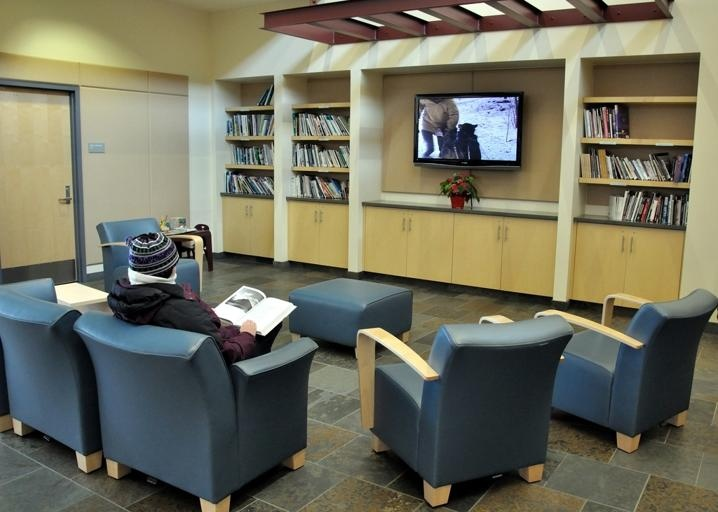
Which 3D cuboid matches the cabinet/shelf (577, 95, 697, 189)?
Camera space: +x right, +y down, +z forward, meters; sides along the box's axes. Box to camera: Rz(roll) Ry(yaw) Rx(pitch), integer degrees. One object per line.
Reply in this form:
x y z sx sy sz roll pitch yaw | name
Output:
3.261 -1.338 6.124 1.085 0.746 0.361 5 11 26 | cabinet/shelf

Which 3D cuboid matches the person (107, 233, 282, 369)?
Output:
-1.289 0.323 4.100 0.735 1.399 0.873 14 28 29 | person

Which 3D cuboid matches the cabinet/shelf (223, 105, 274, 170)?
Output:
-1.837 -1.990 8.778 1.081 0.917 0.358 5 9 33 | cabinet/shelf

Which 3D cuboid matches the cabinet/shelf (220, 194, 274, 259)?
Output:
-1.857 -0.520 8.824 0.981 0.832 0.380 6 8 35 | cabinet/shelf

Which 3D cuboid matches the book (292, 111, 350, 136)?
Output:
-0.569 -2.006 8.078 0.960 0.351 0.211 8 16 26 | book

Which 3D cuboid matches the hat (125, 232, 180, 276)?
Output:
-1.233 -0.037 3.121 0.291 0.239 0.221 14 25 23 | hat

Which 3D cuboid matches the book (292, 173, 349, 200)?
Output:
-0.588 -1.082 8.259 1.018 0.309 0.326 10 17 33 | book

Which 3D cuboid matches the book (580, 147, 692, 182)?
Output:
3.232 -1.062 6.194 1.136 0.338 0.392 8 16 28 | book

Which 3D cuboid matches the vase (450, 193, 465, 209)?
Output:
1.332 -0.746 7.188 0.186 0.142 0.189 -1 5 -1 | vase

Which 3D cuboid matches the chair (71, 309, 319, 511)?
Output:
-0.933 0.743 3.334 1.259 1.142 1.141 5 8 34 | chair

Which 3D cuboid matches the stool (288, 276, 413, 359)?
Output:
0.011 0.509 5.160 0.806 0.454 0.782 7 10 40 | stool

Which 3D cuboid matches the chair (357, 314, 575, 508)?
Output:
0.570 0.738 3.448 1.097 1.154 1.206 -3 8 -24 | chair

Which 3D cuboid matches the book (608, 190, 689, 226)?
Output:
3.310 -0.555 6.052 0.769 0.333 0.230 6 15 22 | book

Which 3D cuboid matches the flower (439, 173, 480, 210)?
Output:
1.391 -0.886 7.341 0.515 0.388 0.524 5 13 29 | flower

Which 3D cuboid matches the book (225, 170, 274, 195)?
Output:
-1.852 -1.195 8.820 1.133 0.386 0.387 13 18 40 | book
